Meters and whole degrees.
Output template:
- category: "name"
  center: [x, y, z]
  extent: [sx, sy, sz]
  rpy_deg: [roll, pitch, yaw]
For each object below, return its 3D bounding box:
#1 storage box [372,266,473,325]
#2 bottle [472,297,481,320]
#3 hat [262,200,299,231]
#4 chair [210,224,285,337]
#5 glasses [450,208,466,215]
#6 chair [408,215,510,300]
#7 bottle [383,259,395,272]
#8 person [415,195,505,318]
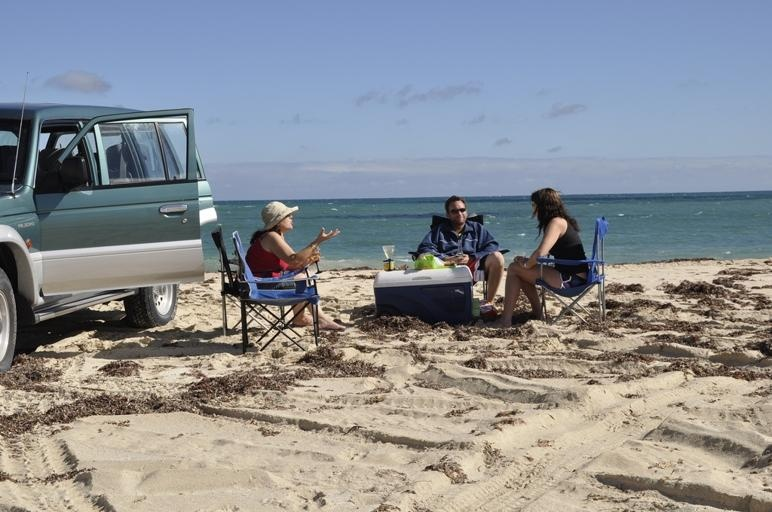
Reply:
- category: "storage box"
  center: [0.709, 0.547, 8.190]
  extent: [1.448, 0.661, 0.852]
  rpy_deg: [-4, -11, 36]
- category: "bottle"
  center: [1.129, 0.622, 8.054]
  extent: [0.095, 0.232, 0.365]
  rpy_deg: [-3, 8, 11]
- category: "hat"
  center: [-1.220, -0.479, 7.496]
  extent: [0.376, 0.334, 0.642]
  rpy_deg: [-6, 8, -9]
- category: "chair"
  center: [-1.369, 0.283, 7.539]
  extent: [1.150, 1.223, 0.909]
  rpy_deg: [-5, 8, -15]
- category: "glasses"
  center: [0.950, -0.590, 8.438]
  extent: [0.208, 0.074, 0.125]
  rpy_deg: [-5, 8, -12]
- category: "chair"
  center: [0.932, 0.021, 8.464]
  extent: [1.282, 0.935, 0.821]
  rpy_deg: [-6, 25, 24]
- category: "bottle"
  center: [0.080, 0.105, 8.315]
  extent: [0.191, 0.138, 0.167]
  rpy_deg: [0, -4, -5]
- category: "person"
  center: [0.979, -0.036, 8.467]
  extent: [1.259, 1.208, 0.884]
  rpy_deg: [-2, 14, 9]
